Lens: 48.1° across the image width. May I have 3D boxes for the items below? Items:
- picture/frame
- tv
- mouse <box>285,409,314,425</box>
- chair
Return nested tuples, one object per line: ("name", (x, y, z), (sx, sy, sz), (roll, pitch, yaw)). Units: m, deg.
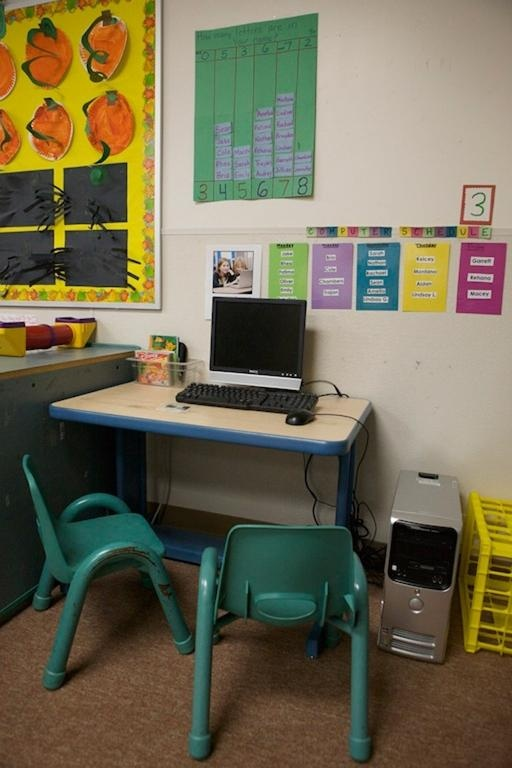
("picture/frame", (-0.084, -0.417, 2.199), (0.195, 0.236, 0.008), (-1, -20, -5))
("tv", (0.005, -0.144, 2.011), (0.324, 0.304, 0.025), (3, 5, 25))
("mouse", (0.130, 0.100, 1.710), (0.057, 0.029, 0.107), (8, 12, 33))
("chair", (-0.217, 0.496, 1.418), (0.987, 0.570, 0.441), (11, 13, 41))
